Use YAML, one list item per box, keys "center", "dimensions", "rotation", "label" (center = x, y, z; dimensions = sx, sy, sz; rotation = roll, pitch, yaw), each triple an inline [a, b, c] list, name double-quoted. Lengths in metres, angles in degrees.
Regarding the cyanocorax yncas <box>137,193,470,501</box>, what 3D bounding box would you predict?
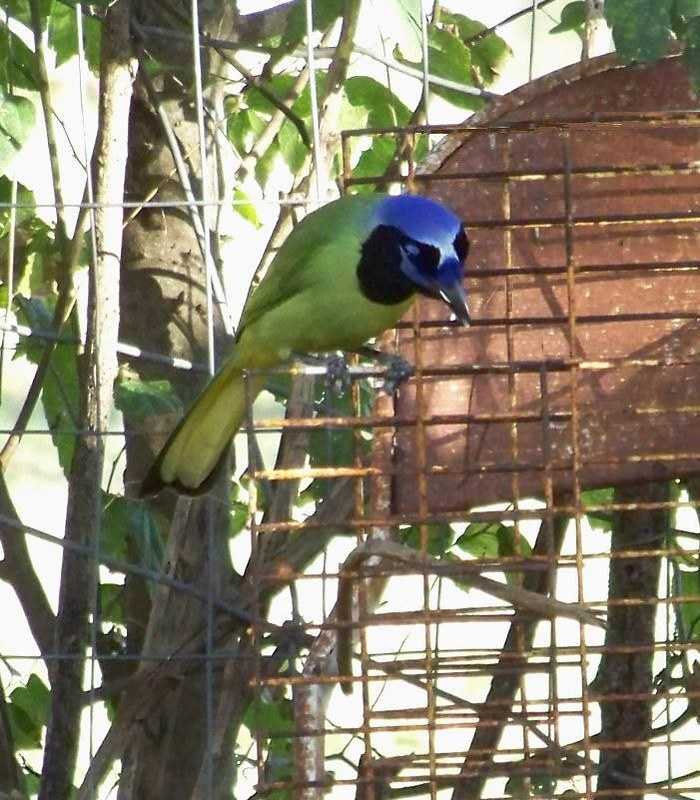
- center: [-0.064, -0.101, 3.919]
  dimensions: [0.602, 0.420, 0.208]
  rotation: [-6, -2, 36]
  label: "cyanocorax yncas"
